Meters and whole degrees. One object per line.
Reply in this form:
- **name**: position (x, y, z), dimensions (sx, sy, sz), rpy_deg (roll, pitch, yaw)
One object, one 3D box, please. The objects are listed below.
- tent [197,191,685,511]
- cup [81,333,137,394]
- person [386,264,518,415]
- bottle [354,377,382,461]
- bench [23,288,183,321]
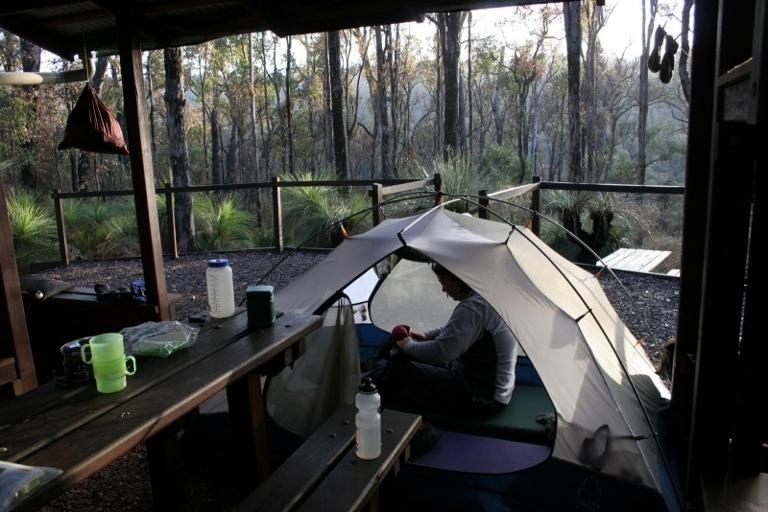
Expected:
- **tent**: position (0.574, 0.700, 3.889), dimensions (2.301, 1.271, 2.384), rpy_deg (1, 11, 7)
- **cup**: position (-1.309, 0.513, 2.565), dimensions (0.304, 0.313, 0.201), rpy_deg (1, 8, 2)
- **person**: position (0.528, 0.690, 4.412), dimensions (1.099, 1.169, 0.950), rpy_deg (9, -1, 13)
- **bottle**: position (-0.092, 0.847, 2.753), dimensions (0.144, 0.420, 0.177), rpy_deg (-4, 9, -4)
- **bench**: position (-2.630, 0.478, 4.712), dimensions (0.952, 0.300, 0.536), rpy_deg (4, 10, 3)
